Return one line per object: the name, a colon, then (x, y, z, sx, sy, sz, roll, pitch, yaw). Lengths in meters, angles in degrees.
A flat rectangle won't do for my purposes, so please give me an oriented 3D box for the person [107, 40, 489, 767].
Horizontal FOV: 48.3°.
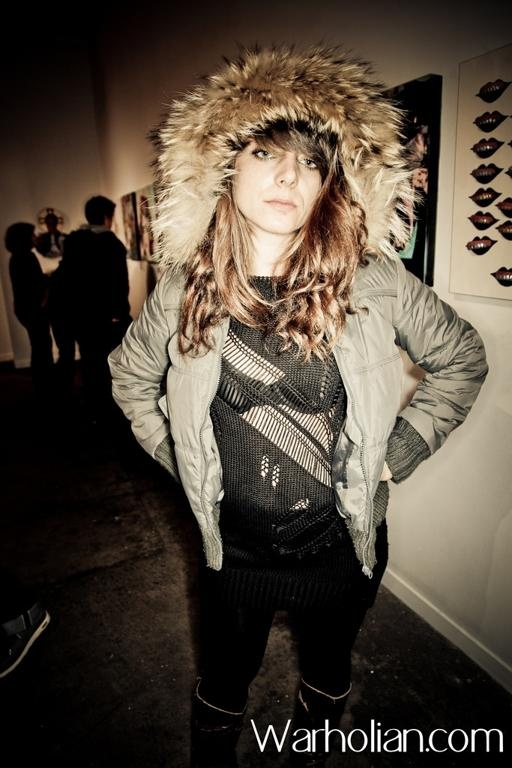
person: (0.105, 0.144, 1.505, 0.933, 1.872, 0.543, -3, 18, -3)
